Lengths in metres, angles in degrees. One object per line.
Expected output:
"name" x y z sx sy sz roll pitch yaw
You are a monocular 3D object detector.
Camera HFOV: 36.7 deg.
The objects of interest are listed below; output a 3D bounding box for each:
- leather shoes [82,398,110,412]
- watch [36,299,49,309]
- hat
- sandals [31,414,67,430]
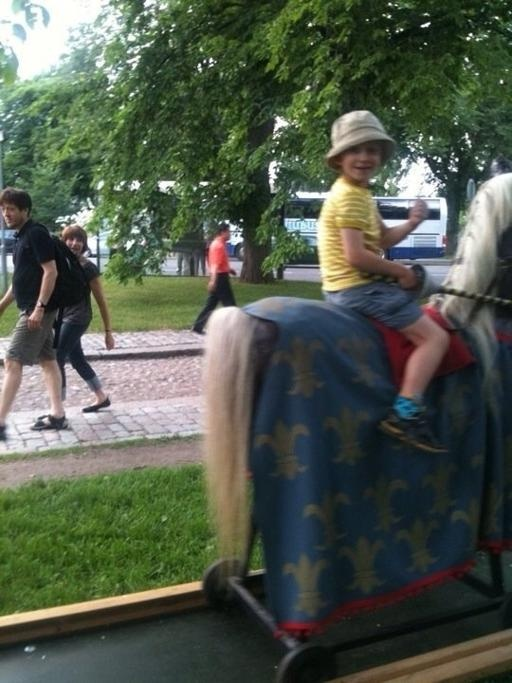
"leather shoes" -1.438 0.529 6.976 0.313 0.115 0.100 -15 -2 -15
"watch" -1.586 -0.385 5.716 0.090 0.055 0.081 9 -4 14
"hat" 0.365 -0.809 2.750 0.204 0.122 0.245 -5 4 9
"sandals" -1.668 0.630 6.292 0.329 0.119 0.115 2 -5 -8
